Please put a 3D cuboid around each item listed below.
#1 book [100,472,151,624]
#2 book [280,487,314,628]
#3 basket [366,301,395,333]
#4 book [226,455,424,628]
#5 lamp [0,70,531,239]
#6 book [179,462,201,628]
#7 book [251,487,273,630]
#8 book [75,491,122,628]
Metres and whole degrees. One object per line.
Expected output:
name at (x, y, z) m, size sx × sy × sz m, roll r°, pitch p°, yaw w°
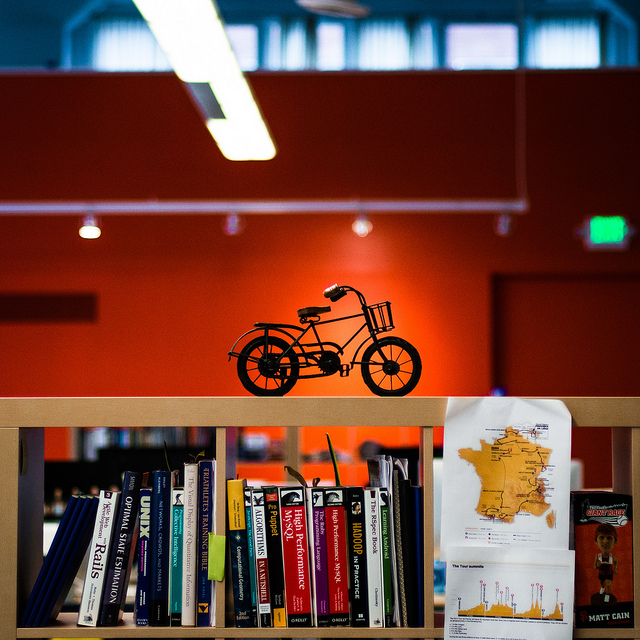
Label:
book at (-0.620, 0.734, 3.616) m, size 0.064 × 0.521 × 0.393 m, roll 7°, pitch -5°, yaw -1°
book at (-0.077, 0.770, 3.582) m, size 0.115 × 0.436 × 0.363 m, roll -1°, pitch 2°, yaw -3°
basket at (0.235, -0.008, 4.447) m, size 0.117 × 0.130 × 0.125 m, roll -4°, pitch -11°, yaw -11°
book at (0.019, 0.567, 3.722) m, size 0.670 × 0.707 × 0.409 m, roll 0°, pitch -8°, yaw -2°
lamp at (-0.243, -0.839, 5.553) m, size 2.465 × 0.689 × 1.237 m, roll 1°, pitch 0°, yaw 9°
book at (-0.415, 0.713, 3.605) m, size 0.060 × 0.392 × 0.046 m, roll 1°, pitch 0°, yaw -6°
book at (-0.183, 0.769, 3.587) m, size 0.067 × 0.341 × 0.034 m, roll 1°, pitch 0°, yaw -1°
book at (-0.705, 0.757, 3.607) m, size 0.132 × 0.306 × 0.045 m, roll 1°, pitch 0°, yaw -14°
